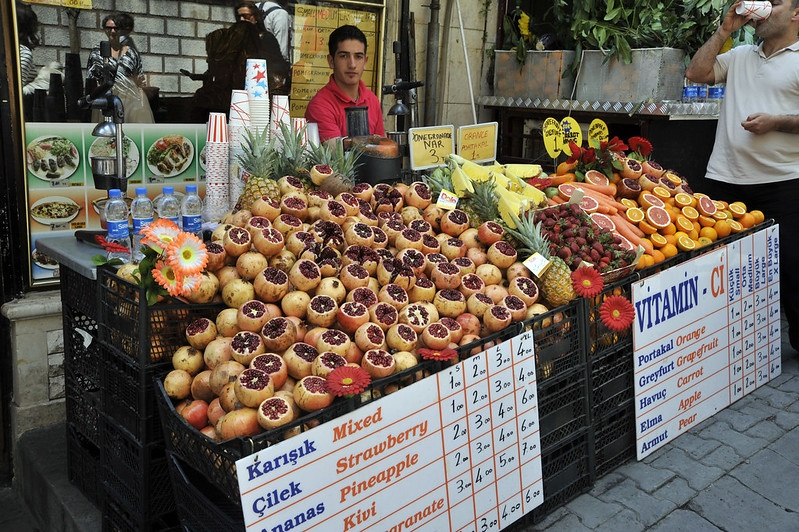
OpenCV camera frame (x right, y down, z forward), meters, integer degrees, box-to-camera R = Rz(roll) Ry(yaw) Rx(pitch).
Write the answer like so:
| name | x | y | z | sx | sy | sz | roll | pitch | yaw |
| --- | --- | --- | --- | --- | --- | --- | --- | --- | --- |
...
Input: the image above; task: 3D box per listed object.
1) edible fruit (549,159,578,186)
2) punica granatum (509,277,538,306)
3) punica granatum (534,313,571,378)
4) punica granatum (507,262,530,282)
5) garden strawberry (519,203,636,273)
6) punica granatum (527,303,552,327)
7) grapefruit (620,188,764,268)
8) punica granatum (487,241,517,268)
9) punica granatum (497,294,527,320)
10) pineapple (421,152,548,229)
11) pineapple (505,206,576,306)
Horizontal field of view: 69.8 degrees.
| name | x | y | z | sx | sy | sz | roll | pitch | yaw |
| --- | --- | --- | --- | --- | --- | --- | --- | --- | --- |
| edible fruit | 1.317 | -0.745 | 4.622 | 0.193 | 0.222 | 0.102 | -16 | -27 | 30 |
| punica granatum | 0.756 | 0.141 | 3.455 | 0.162 | 0.114 | 0.175 | 21 | 35 | -12 |
| punica granatum | 0.899 | 0.461 | 3.390 | 0.244 | 0.370 | 0.119 | 5 | -7 | -33 |
| punica granatum | 0.727 | 0.028 | 3.554 | 0.112 | 0.133 | 0.114 | -11 | 32 | -30 |
| garden strawberry | 1.160 | -0.184 | 3.747 | 0.532 | 0.149 | 0.529 | -19 | 56 | -36 |
| punica granatum | 0.822 | 0.292 | 3.379 | 0.132 | 0.134 | 0.131 | 4 | 16 | -16 |
| grapefruit | 2.171 | -0.332 | 4.364 | 0.845 | 0.193 | 0.799 | -21 | 27 | -35 |
| punica granatum | 0.646 | -0.076 | 3.664 | 0.163 | 0.154 | 0.162 | 8 | 5 | 0 |
| punica granatum | 0.667 | 0.229 | 3.371 | 0.149 | 0.150 | 0.142 | 17 | 26 | 30 |
| pineapple | 0.631 | -0.593 | 4.152 | 0.748 | 0.291 | 0.594 | 18 | 48 | 27 |
| pineapple | 0.877 | -0.044 | 3.615 | 0.297 | 0.277 | 0.667 | -22 | 66 | -12 |
